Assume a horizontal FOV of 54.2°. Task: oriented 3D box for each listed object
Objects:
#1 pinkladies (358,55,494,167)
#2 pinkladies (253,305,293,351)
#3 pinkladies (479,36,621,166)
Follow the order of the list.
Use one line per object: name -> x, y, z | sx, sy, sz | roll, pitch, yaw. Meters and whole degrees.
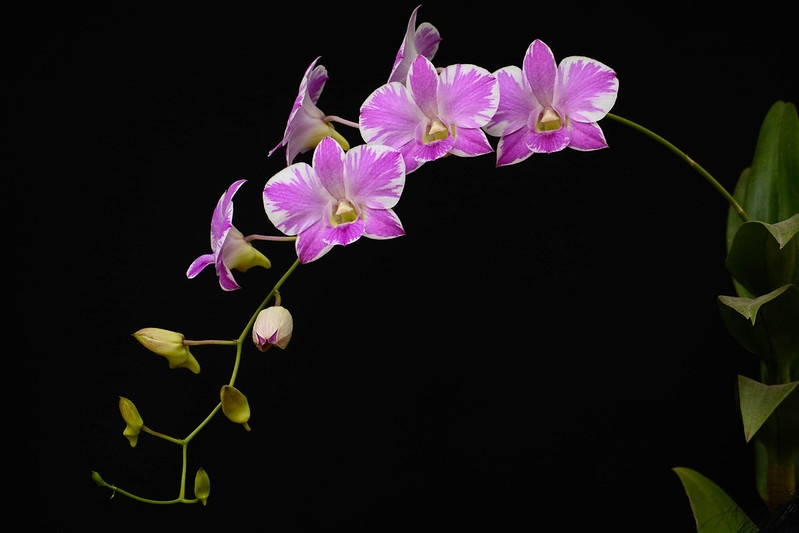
pinkladies -> 0.076, -0.414, 2.205 | 0.401, 0.153, 0.376 | -8, -34, -16
pinkladies -> -0.370, 0.189, 2.340 | 0.107, 0.127, 0.123 | -6, -15, 9
pinkladies -> 0.422, -0.465, 2.214 | 0.363, 0.310, 0.164 | -5, -15, 4
